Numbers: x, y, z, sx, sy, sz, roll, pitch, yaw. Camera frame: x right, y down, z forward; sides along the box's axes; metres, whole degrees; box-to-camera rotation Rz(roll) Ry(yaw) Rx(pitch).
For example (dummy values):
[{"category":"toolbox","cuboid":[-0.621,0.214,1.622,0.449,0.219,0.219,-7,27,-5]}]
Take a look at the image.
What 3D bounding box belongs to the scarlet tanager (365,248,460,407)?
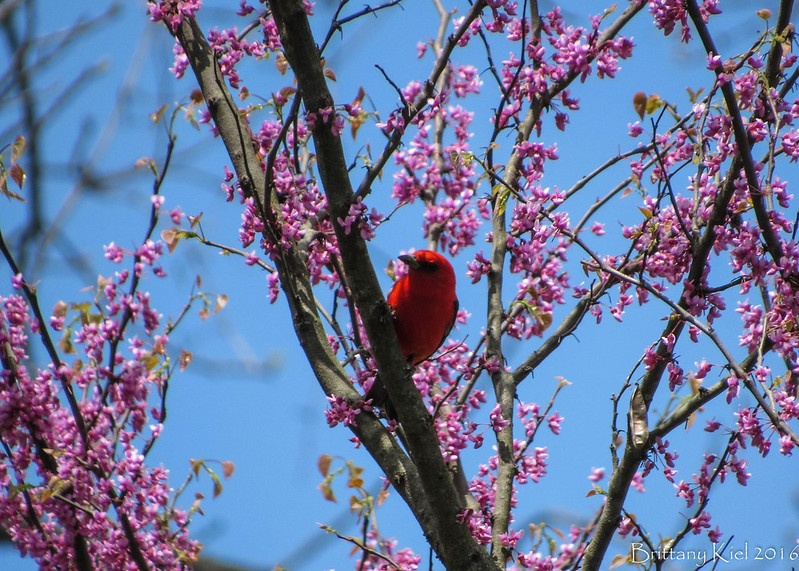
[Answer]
[{"category":"scarlet tanager","cuboid":[0.150,0.140,11.062,0.420,0.593,1.363,12,-55,-4]}]
